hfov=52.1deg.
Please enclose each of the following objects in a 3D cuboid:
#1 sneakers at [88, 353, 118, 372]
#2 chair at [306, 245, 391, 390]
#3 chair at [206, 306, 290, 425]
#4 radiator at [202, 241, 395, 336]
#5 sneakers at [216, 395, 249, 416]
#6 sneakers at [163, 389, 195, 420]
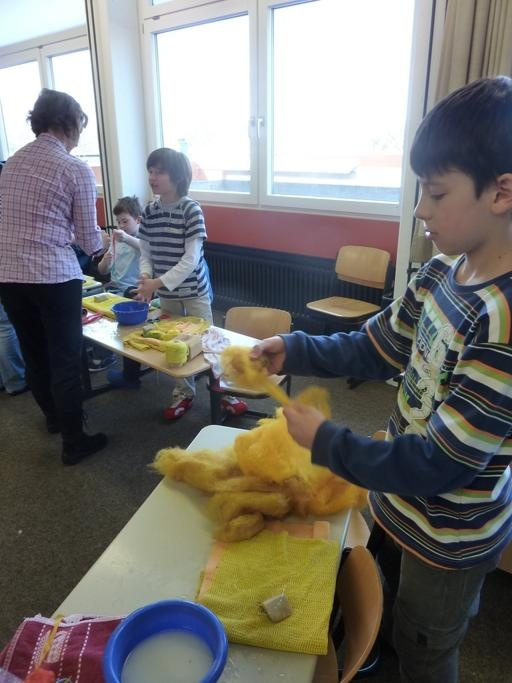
[{"bbox_3d":[-1.109,0.151,3.796,0.072,0.088,0.214,10,21,29],"label":"sneakers"},{"bbox_3d":[0.596,-0.177,3.455,0.572,0.810,0.481,-16,26,-26],"label":"chair"},{"bbox_3d":[-0.020,0.161,2.461,0.377,0.546,0.401,5,16,21],"label":"chair"},{"bbox_3d":[0.150,-0.326,4.225,1.389,0.735,0.103,5,-10,-44],"label":"radiator"},{"bbox_3d":[-0.136,0.349,2.979,0.173,0.074,0.090,27,37,32],"label":"sneakers"},{"bbox_3d":[-0.444,0.355,3.032,0.104,0.087,0.207,8,27,28],"label":"sneakers"}]
